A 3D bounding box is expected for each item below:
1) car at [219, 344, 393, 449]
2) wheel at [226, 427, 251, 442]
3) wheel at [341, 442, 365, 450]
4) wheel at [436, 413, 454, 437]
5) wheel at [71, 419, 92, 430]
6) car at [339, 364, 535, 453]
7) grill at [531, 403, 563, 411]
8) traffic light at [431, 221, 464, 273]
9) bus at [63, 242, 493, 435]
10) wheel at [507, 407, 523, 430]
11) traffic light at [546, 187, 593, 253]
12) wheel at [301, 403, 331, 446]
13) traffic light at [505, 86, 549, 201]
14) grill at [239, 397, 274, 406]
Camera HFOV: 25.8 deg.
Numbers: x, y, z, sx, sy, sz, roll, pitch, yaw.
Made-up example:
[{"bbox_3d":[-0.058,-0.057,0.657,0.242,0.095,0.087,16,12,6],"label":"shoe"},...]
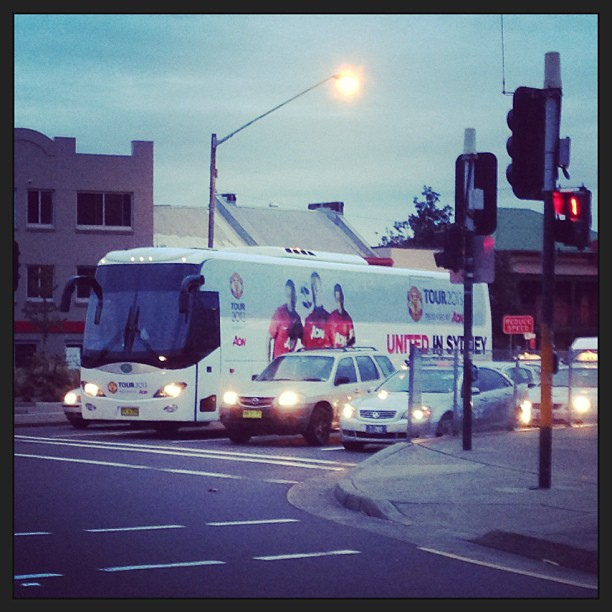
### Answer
[{"bbox_3d":[0.067,1.460,21.898,1.261,1.291,2.734,-4,-4,32],"label":"car"},{"bbox_3d":[-1.099,2.141,21.848,0.241,0.233,0.305,0,-6,4],"label":"wheel"},{"bbox_3d":[0.746,2.170,20.576,0.326,0.148,0.481,-1,-1,1],"label":"wheel"},{"bbox_3d":[2.144,1.854,20.573,0.096,0.317,0.279,-13,-14,35],"label":"wheel"},{"bbox_3d":[-4.156,2.208,24.833,0.279,0.104,0.305,0,-2,0],"label":"wheel"},{"bbox_3d":[2.006,1.586,21.180,1.249,1.071,3.062,-5,-7,36],"label":"car"},{"bbox_3d":[4.291,1.802,23.664,0.238,0.113,0.865,-2,-2,37],"label":"grill"},{"bbox_3d":[2.053,-0.853,19.089,0.422,0.531,0.812,-1,-1,6],"label":"traffic light"},{"bbox_3d":[0.100,0.609,27.128,2.785,3.782,10.121,-2,-3,40],"label":"bus"},{"bbox_3d":[3.677,1.967,23.290,0.129,0.299,0.565,-1,-1,25],"label":"wheel"},{"bbox_3d":[2.781,-0.926,14.048,0.475,0.541,0.433,-1,-1,3],"label":"traffic light"},{"bbox_3d":[0.162,1.900,21.191,0.264,0.700,0.811,-1,-1,23],"label":"wheel"},{"bbox_3d":[2.279,-1.698,13.809,0.397,0.885,0.359,-1,-1,13],"label":"traffic light"},{"bbox_3d":[-0.758,1.502,20.900,0.610,0.131,0.129,-3,-2,39],"label":"grill"}]
